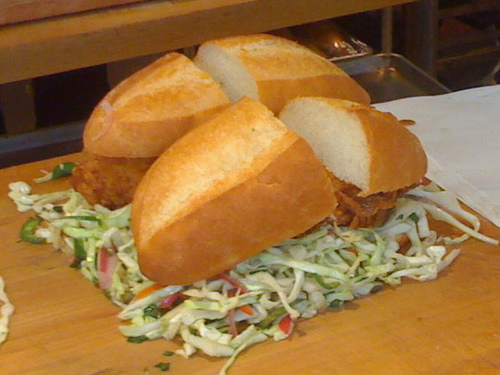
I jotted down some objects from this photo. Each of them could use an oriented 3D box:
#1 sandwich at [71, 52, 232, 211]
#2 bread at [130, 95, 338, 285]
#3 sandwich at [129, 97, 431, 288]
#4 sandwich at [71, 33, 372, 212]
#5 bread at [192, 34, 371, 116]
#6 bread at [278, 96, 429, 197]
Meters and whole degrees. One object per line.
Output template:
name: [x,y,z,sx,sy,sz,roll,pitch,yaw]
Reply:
sandwich: [-0.203,-0.123,1.465,0.495,0.169,0.352,-41,56,7]
bread: [-0.049,0.008,1.198,0.488,0.156,0.340,-35,59,16]
sandwich: [0.059,-0.066,1.275,0.802,0.221,0.416,-27,39,-24]
sandwich: [-0.016,-0.211,1.539,0.855,0.237,0.452,-22,43,-16]
bread: [0.090,-0.316,1.419,0.358,0.087,0.350,-7,31,-40]
bread: [0.315,-0.150,1.400,0.291,0.136,0.390,-10,27,-27]
